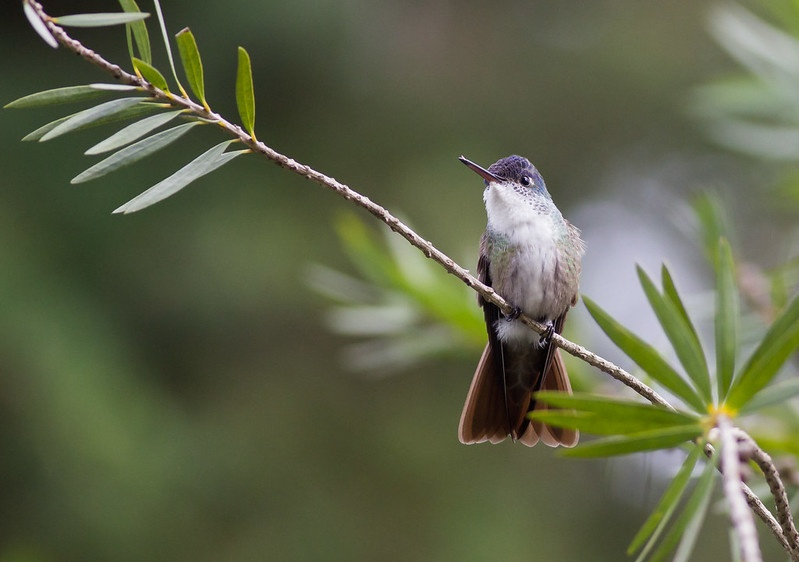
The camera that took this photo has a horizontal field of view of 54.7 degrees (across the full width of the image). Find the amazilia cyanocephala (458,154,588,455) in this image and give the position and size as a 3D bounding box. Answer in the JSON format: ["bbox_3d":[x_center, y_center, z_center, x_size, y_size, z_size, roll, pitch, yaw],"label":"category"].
[{"bbox_3d":[0.498,0.085,3.150,0.425,0.577,1.353,2,-76,10],"label":"amazilia cyanocephala"}]
